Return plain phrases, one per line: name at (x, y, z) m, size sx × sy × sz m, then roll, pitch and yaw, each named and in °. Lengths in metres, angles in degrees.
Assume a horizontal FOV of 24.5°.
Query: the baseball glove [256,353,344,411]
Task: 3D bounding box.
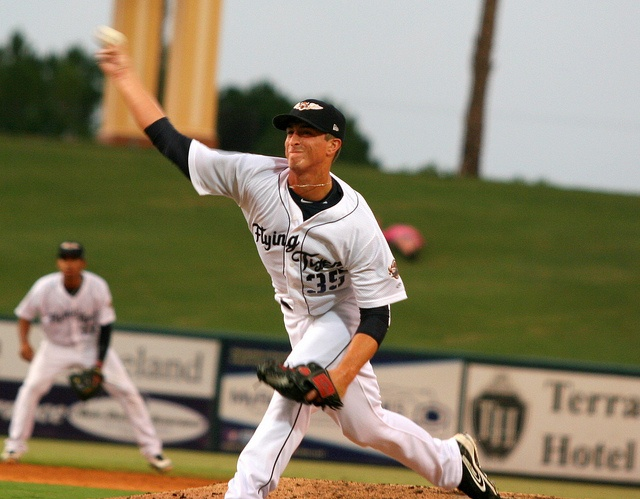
baseball glove at (-0.147, 1.159, 12.494) m, size 0.598 × 0.199 × 0.345 m, roll 21°, pitch 12°, yaw -35°
